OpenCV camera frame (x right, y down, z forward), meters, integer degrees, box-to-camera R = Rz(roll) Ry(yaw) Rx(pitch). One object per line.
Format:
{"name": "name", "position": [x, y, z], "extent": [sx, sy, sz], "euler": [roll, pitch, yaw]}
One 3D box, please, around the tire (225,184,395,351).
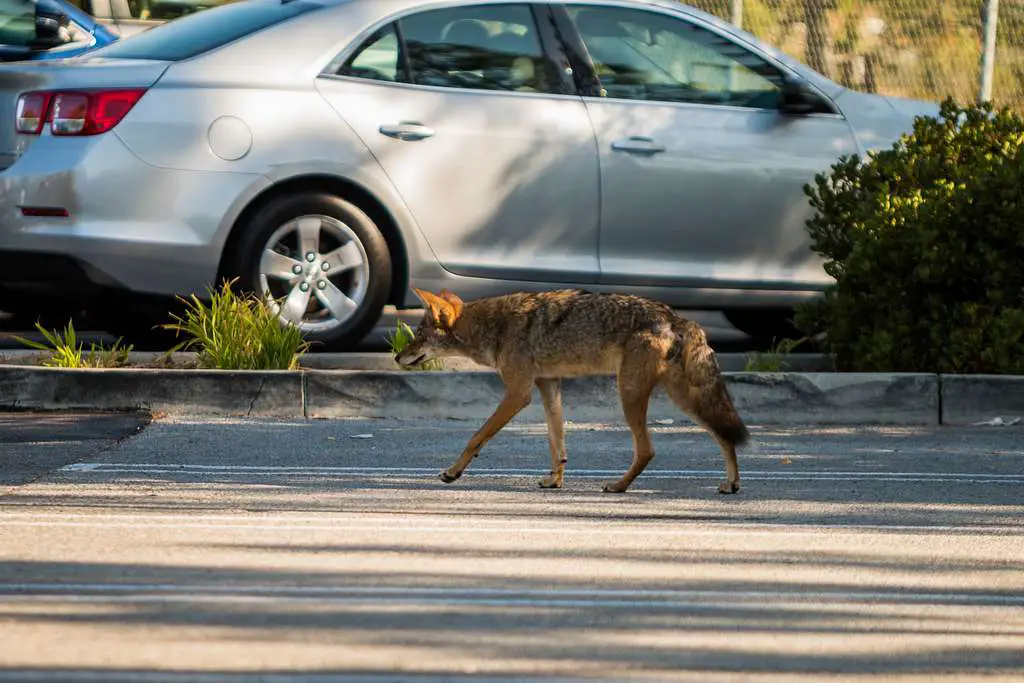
{"name": "tire", "position": [-1.472, -0.581, 11.355], "extent": [1.210, 1.158, 0.390], "euler": [-1, 3, -5]}

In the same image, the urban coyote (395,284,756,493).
{"name": "urban coyote", "position": [0.332, 0.303, 9.946], "extent": [2.229, 1.308, 0.527], "euler": [-1, -4, 21]}

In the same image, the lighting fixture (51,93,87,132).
{"name": "lighting fixture", "position": [-3.017, -1.578, 10.993], "extent": [0.271, 0.349, 0.053], "euler": [1, -3, 6]}
